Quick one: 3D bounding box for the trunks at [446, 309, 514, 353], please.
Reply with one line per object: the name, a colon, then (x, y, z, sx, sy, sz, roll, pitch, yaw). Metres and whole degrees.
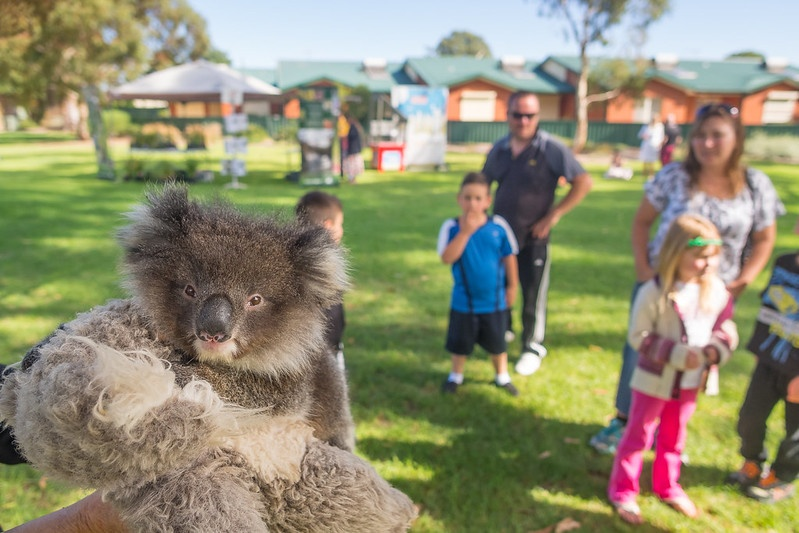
trunks: (0.738, 0.626, 6.947, 0.615, 0.486, 0.370, 2, 1, -2)

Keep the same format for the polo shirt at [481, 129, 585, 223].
polo shirt: (1.292, -0.847, 7.568, 1.249, 1.092, 0.545, 5, 0, 40)

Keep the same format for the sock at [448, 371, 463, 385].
sock: (0.544, 1.065, 7.129, 0.125, 0.096, 0.123, 15, -9, -33)

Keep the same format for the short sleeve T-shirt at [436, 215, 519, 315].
short sleeve T-shirt: (0.807, 0.001, 6.937, 0.629, 0.854, 0.331, -7, 16, -33)

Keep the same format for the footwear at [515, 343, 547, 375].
footwear: (1.317, 0.945, 7.459, 0.156, 0.183, 0.452, 23, 19, 14)

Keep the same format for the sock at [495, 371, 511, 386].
sock: (0.988, 1.092, 7.150, 0.097, 0.168, 0.165, -9, -15, 19)

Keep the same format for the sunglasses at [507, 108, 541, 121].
sunglasses: (1.212, -1.451, 7.247, 0.265, 0.088, 0.134, 3, 14, 1)

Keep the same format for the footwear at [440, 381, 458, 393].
footwear: (0.470, 1.151, 7.045, 0.089, 0.041, 0.125, 7, 14, 16)

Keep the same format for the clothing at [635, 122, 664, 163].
clothing: (6.953, -3.344, 20.388, 0.730, 1.157, 0.612, 5, -2, 10)
